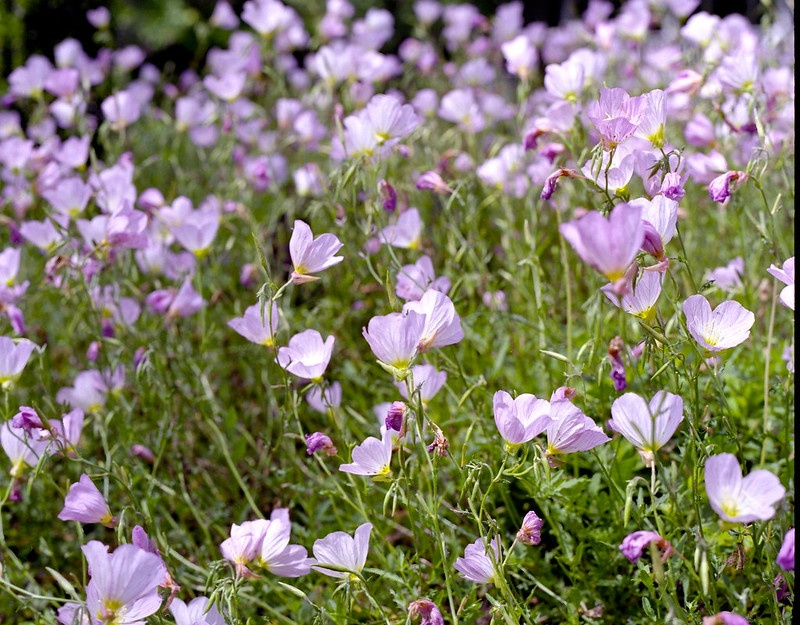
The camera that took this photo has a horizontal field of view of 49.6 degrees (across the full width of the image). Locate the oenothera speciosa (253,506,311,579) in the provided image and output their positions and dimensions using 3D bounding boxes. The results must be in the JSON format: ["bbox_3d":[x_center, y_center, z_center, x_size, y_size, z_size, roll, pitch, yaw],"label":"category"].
[{"bbox_3d":[-0.293,0.554,2.069,0.068,0.173,0.137,-7,19,45],"label":"oenothera speciosa"}]

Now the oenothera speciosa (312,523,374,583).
[{"bbox_3d":[-0.122,0.575,2.026,0.148,0.159,0.092,-13,44,17],"label":"oenothera speciosa"}]

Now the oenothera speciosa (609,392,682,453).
[{"bbox_3d":[0.549,0.238,1.910,0.113,0.158,0.071,5,32,-1],"label":"oenothera speciosa"}]

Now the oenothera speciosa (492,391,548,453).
[{"bbox_3d":[0.279,0.238,1.981,0.101,0.108,0.117,5,13,5],"label":"oenothera speciosa"}]

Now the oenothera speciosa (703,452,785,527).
[{"bbox_3d":[0.676,0.390,1.750,0.142,0.085,0.180,-10,42,36],"label":"oenothera speciosa"}]
